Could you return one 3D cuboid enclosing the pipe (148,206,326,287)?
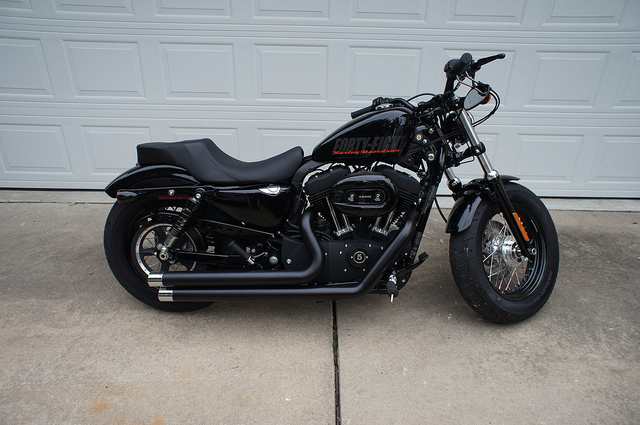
[{"bbox_3d":[-0.669,0.320,3.987,1.418,0.644,0.382,-1,28,-7],"label":"pipe"}]
